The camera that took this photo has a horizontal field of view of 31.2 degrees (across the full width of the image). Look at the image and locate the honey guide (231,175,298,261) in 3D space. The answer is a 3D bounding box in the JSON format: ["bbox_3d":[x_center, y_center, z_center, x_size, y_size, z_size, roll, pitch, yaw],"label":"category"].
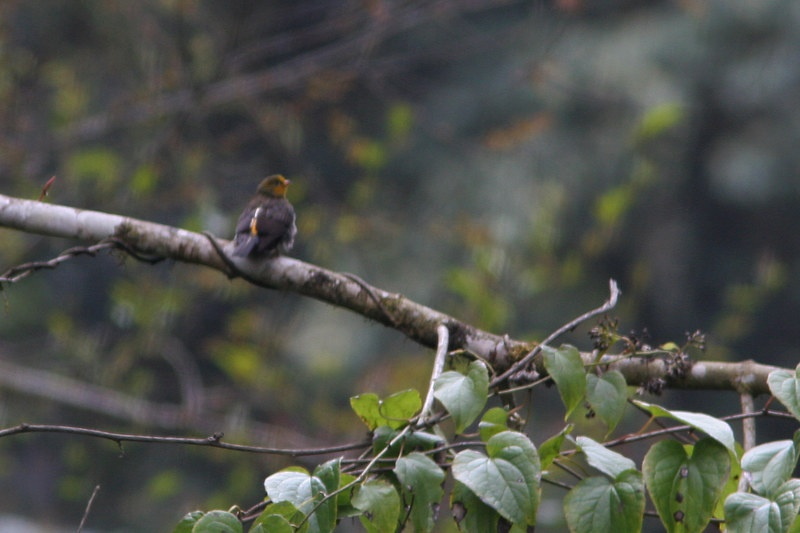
[{"bbox_3d":[-0.681,-0.227,7.153,0.278,0.546,0.442,1,-84,24],"label":"honey guide"}]
